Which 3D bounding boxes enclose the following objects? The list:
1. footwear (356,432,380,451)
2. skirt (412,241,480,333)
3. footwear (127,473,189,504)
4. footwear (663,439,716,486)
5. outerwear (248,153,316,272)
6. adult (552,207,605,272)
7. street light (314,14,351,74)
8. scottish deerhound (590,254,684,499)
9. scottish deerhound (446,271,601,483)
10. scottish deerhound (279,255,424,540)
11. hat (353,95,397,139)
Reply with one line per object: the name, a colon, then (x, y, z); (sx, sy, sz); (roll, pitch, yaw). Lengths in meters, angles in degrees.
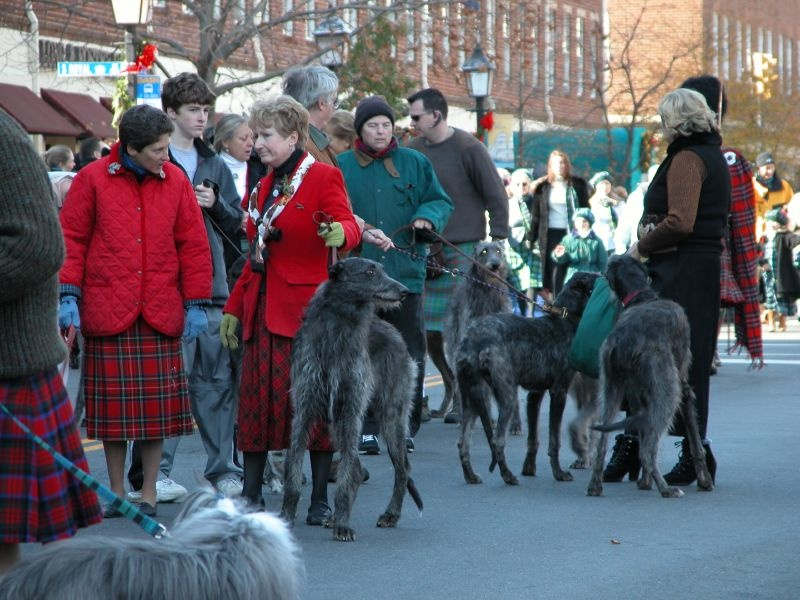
footwear: (-0.267, 1.200, 10.620); (0.150, 0.162, 0.397); (1, -7, -5)
skirt: (0.478, -0.115, 12.005); (0.602, 0.776, 0.228); (5, 11, 33)
footwear: (-1.760, 1.339, 8.910); (0.569, 0.215, 0.209); (-3, 2, 19)
footwear: (2.128, 1.229, 9.312); (0.522, 0.349, 0.216); (0, 3, 7)
outerwear: (-0.711, -0.554, 8.129); (0.439, 0.708, 0.181); (16, -10, 41)
adult: (2.474, -0.781, 17.639); (0.707, 0.957, 0.552); (-2, 0, 32)
street light: (-1.031, -3.903, 19.033); (0.512, 0.931, 1.309); (-2, 0, -2)
scottish deerhound: (1.665, 0.536, 8.895); (0.685, 1.619, 0.637); (-2, 0, 29)
scottish deerhound: (0.952, 0.594, 9.563); (1.052, 1.527, 0.504); (-2, 0, 1)
scottish deerhound: (-0.322, 0.622, 7.920); (0.926, 1.741, 0.544); (-2, 0, -18)
hat: (-0.228, -1.511, 10.284); (0.342, 0.326, 0.303); (-2, 0, 8)
